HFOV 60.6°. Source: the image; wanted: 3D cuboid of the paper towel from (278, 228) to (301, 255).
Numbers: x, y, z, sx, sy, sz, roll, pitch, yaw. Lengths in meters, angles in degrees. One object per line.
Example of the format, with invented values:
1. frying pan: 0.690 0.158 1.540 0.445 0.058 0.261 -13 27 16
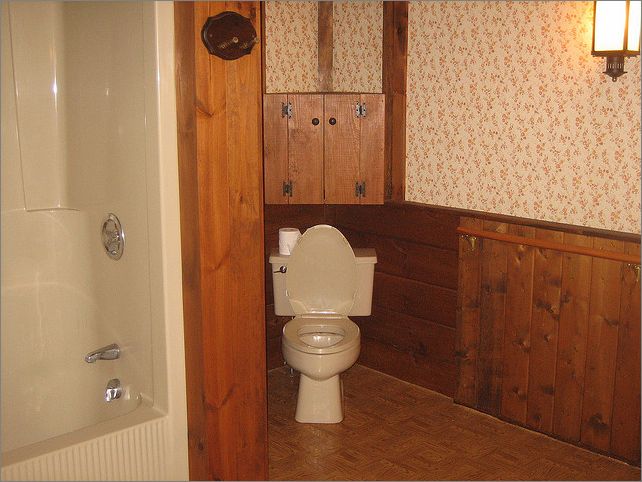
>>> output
1. paper towel: -0.214 0.006 3.377 0.155 0.149 0.122 6 8 33

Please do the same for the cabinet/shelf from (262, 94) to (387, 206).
1. cabinet/shelf: 0.000 -0.578 3.311 0.661 0.643 0.270 0 5 -3

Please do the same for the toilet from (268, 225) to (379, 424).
1. toilet: 0.033 0.474 3.273 0.643 1.108 0.546 -2 14 -6

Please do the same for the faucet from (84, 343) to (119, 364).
1. faucet: -0.947 0.503 2.396 0.157 0.095 0.044 -4 -3 24
